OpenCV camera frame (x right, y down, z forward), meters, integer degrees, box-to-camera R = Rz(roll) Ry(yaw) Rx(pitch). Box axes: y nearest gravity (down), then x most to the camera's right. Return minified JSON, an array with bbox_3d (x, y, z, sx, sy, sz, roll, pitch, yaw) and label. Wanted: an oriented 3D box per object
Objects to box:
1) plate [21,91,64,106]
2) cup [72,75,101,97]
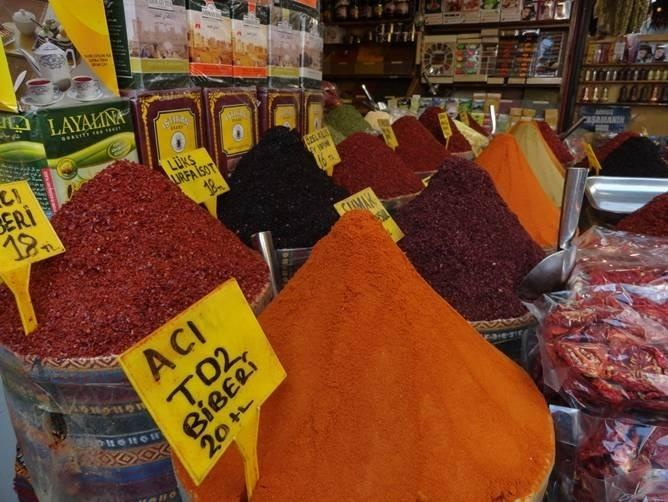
[{"bbox_3d":[-0.651,-0.342,1.007,0.052,0.024,0.052,-12,40,-18],"label":"plate"},{"bbox_3d":[-0.605,-0.398,1.116,0.040,0.042,0.062,8,10,31],"label":"cup"}]
